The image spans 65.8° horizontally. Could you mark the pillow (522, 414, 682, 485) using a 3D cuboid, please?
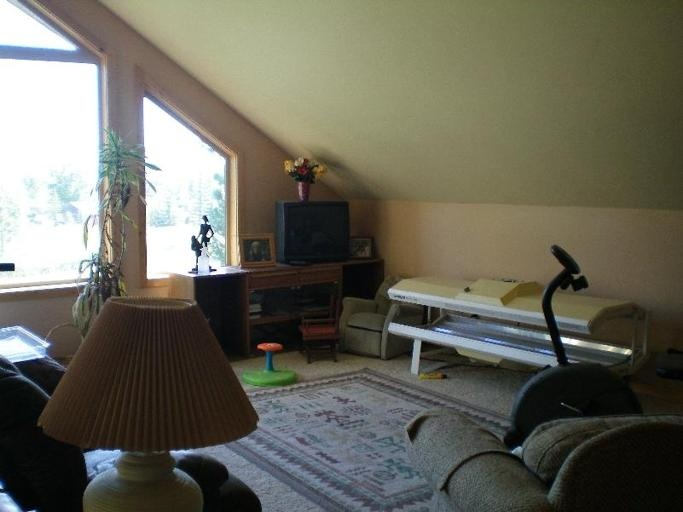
[{"bbox_3d":[0.777,0.596,1.691,0.319,0.107,0.303,-7,26,17],"label":"pillow"}]

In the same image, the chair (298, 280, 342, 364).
[{"bbox_3d":[-0.248,0.712,5.648,0.597,0.985,0.648,1,4,-7],"label":"chair"}]

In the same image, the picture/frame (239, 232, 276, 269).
[{"bbox_3d":[-0.898,-0.055,5.590,0.398,0.329,0.039,0,-7,-33],"label":"picture/frame"}]

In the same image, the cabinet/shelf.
[{"bbox_3d":[-0.362,0.618,5.542,2.247,0.934,0.563,-7,-21,21],"label":"cabinet/shelf"}]

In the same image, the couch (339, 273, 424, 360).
[{"bbox_3d":[0.443,0.639,5.652,0.891,0.776,0.847,6,-3,-25],"label":"couch"}]

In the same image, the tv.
[{"bbox_3d":[-0.381,-0.248,6.053,0.923,0.714,0.510,-3,2,-37],"label":"tv"}]

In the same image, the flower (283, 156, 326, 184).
[{"bbox_3d":[-0.411,-0.966,5.900,0.364,0.244,0.368,7,7,41],"label":"flower"}]

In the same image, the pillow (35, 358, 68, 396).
[{"bbox_3d":[-1.303,0.536,2.320,0.074,0.138,0.206,26,-18,6],"label":"pillow"}]

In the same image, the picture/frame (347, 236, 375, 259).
[{"bbox_3d":[0.216,-0.104,6.229,0.290,0.226,0.038,2,-3,-3],"label":"picture/frame"}]
